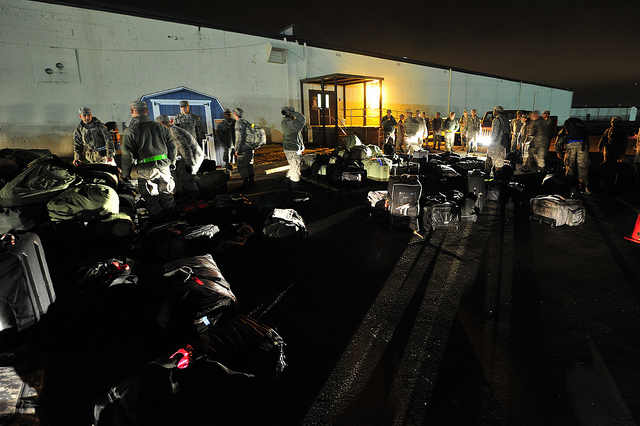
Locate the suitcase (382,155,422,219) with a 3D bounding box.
[{"bbox_3d":[1.675,-0.296,8.135,0.652,0.834,0.491,2,15,9],"label":"suitcase"}]

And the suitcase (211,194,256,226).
[{"bbox_3d":[-1.789,-0.036,8.176,1.281,0.664,0.746,-6,13,-36],"label":"suitcase"}]

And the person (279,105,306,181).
[{"bbox_3d":[-0.736,-1.825,10.880,0.612,1.953,1.015,-2,15,-6],"label":"person"}]

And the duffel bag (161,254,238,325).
[{"bbox_3d":[-1.746,1.032,5.697,0.847,0.344,0.956,-21,57,-35],"label":"duffel bag"}]

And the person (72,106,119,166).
[{"bbox_3d":[-5.991,-1.946,10.486,0.861,1.519,2.230,-11,19,-34],"label":"person"}]

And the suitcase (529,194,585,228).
[{"bbox_3d":[5.015,-0.094,8.371,0.747,0.464,0.866,-13,18,-23],"label":"suitcase"}]

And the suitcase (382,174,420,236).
[{"bbox_3d":[1.705,-0.198,8.275,0.797,1.057,0.708,-6,21,-19],"label":"suitcase"}]

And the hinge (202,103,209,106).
[{"bbox_3d":[-4.542,-4.258,15.835,0.235,0.116,0.124,-4,19,-19],"label":"hinge"}]

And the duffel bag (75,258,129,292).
[{"bbox_3d":[-3.179,0.911,5.890,0.922,0.329,0.653,-6,17,-30],"label":"duffel bag"}]

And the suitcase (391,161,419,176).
[{"bbox_3d":[2.201,-1.117,10.442,0.531,0.223,0.590,2,14,30],"label":"suitcase"}]

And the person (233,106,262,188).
[{"bbox_3d":[-1.994,-1.745,11.034,0.721,2.118,0.678,-4,15,-10],"label":"person"}]

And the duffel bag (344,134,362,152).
[{"bbox_3d":[0.894,-2.149,12.196,0.436,0.560,0.546,7,10,-28],"label":"duffel bag"}]

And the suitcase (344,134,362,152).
[{"bbox_3d":[0.980,-2.139,12.271,0.414,0.528,0.517,-6,4,-22],"label":"suitcase"}]

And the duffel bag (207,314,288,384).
[{"bbox_3d":[-0.951,1.742,5.165,0.865,0.332,0.812,30,34,13],"label":"duffel bag"}]

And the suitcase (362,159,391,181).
[{"bbox_3d":[1.622,-1.156,11.161,0.788,0.745,0.471,-9,19,-15],"label":"suitcase"}]

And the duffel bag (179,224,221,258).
[{"bbox_3d":[-2.044,0.492,6.902,0.649,0.387,0.208,-6,7,-26],"label":"duffel bag"}]

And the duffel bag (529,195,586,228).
[{"bbox_3d":[5.026,-0.110,8.375,0.740,0.460,0.858,-14,19,-22],"label":"duffel bag"}]

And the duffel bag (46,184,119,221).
[{"bbox_3d":[-4.260,-0.181,7.198,1.090,0.575,0.395,-10,18,-31],"label":"duffel bag"}]

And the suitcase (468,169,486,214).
[{"bbox_3d":[3.395,-0.439,8.726,0.352,0.993,0.629,3,31,33],"label":"suitcase"}]

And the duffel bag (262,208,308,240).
[{"bbox_3d":[-0.706,0.238,7.836,1.105,0.504,0.871,-6,19,-31],"label":"duffel bag"}]

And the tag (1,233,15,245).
[{"bbox_3d":[-4.233,0.354,5.452,0.207,0.074,0.148,18,3,-13],"label":"tag"}]

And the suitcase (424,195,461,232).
[{"bbox_3d":[2.467,0.059,8.209,0.558,0.723,0.358,5,50,4],"label":"suitcase"}]

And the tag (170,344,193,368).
[{"bbox_3d":[-1.676,1.767,4.936,0.171,0.057,0.242,4,22,14],"label":"tag"}]

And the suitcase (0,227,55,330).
[{"bbox_3d":[-3.831,0.879,5.172,0.349,1.069,0.576,10,19,36],"label":"suitcase"}]

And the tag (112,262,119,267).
[{"bbox_3d":[-3.049,0.778,5.969,0.081,0.028,0.058,13,12,8],"label":"tag"}]

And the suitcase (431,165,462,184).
[{"bbox_3d":[3.537,-1.051,10.993,0.568,0.163,0.513,-17,47,-21],"label":"suitcase"}]

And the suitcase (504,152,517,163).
[{"bbox_3d":[5.555,-1.614,11.636,0.318,0.306,0.297,-3,-2,-43],"label":"suitcase"}]

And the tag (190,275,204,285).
[{"bbox_3d":[-1.750,0.963,5.685,0.241,0.073,0.074,31,41,26],"label":"tag"}]

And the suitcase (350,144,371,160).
[{"bbox_3d":[1.137,-1.737,11.631,0.448,0.193,0.460,17,37,38],"label":"suitcase"}]
